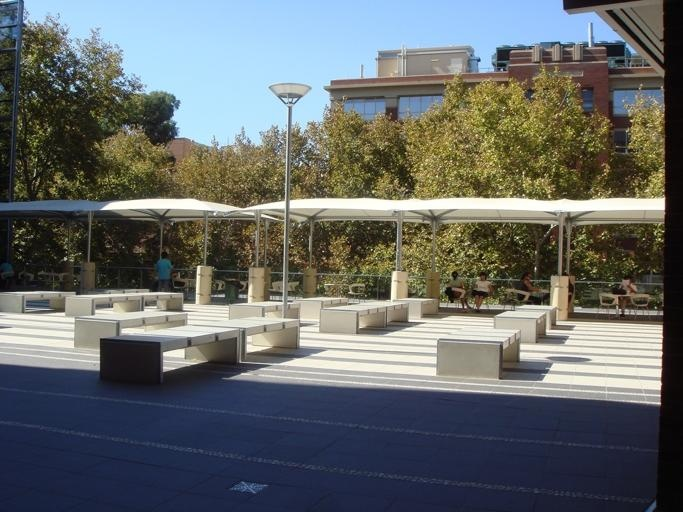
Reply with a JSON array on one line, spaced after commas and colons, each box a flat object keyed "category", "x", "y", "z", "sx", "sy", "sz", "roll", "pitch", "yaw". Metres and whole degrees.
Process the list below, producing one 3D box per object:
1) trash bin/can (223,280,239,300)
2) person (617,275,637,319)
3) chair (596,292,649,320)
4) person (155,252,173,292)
[{"category": "trash bin/can", "x": -4.416, "y": 1.337, "z": 25.683, "sx": 0.622, "sy": 0.667, "sz": 1.169, "roll": 3, "pitch": -5, "yaw": -1}, {"category": "person", "x": 9.709, "y": 1.337, "z": 21.525, "sx": 0.576, "sy": 1.387, "sz": 2.733, "roll": -1, "pitch": 0, "yaw": 25}, {"category": "chair", "x": 9.588, "y": 1.576, "z": 21.579, "sx": 1.401, "sy": 0.739, "sz": 1.454, "roll": 1, "pitch": -4, "yaw": 4}, {"category": "person", "x": -7.281, "y": 0.588, "z": 26.201, "sx": 0.568, "sy": 1.445, "sz": 2.411, "roll": -1, "pitch": 0, "yaw": -16}]
